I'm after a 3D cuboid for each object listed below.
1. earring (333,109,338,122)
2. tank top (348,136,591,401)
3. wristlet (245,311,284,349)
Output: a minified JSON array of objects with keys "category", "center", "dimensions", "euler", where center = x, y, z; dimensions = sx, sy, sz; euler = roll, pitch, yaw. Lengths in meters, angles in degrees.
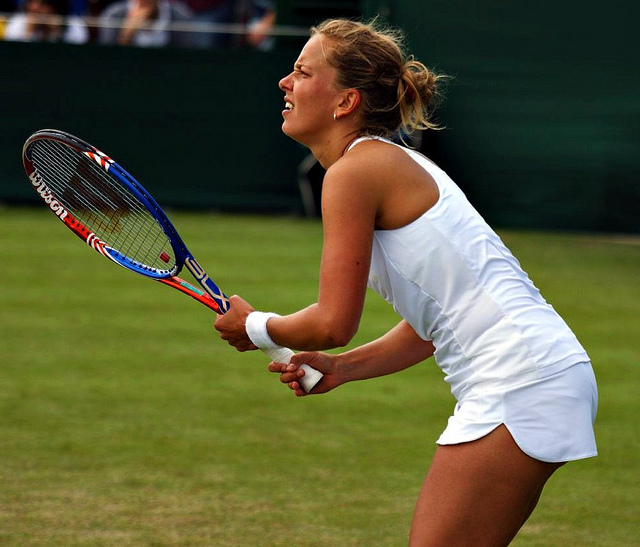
[{"category":"earring","center":[0.052,-0.538,3.154],"dimensions":[0.013,0.032,0.008],"euler":[4,2,-11]},{"category":"tank top","center":[0.494,0.015,3.029],"dimensions":[0.702,0.825,0.322],"euler":[14,18,36]},{"category":"wristlet","center":[-0.209,0.222,3.325],"dimensions":[0.133,0.173,0.213],"euler":[2,13,-5]}]
